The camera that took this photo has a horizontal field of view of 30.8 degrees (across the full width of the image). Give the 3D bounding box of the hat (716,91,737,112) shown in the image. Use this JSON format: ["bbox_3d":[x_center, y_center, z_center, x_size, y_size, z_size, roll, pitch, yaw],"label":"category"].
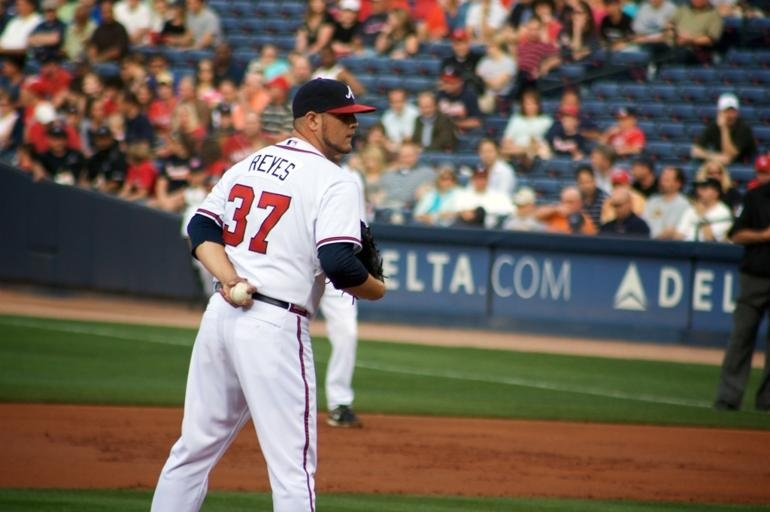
[{"bbox_3d":[4.429,-1.980,18.150,0.191,0.157,0.300,1,7,7],"label":"hat"}]

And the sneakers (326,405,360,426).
[{"bbox_3d":[-0.444,1.729,15.044,0.370,0.222,0.179,0,2,2],"label":"sneakers"}]

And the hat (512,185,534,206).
[{"bbox_3d":[1.802,-0.762,18.120,0.281,0.237,0.229,2,3,3],"label":"hat"}]

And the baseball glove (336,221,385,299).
[{"bbox_3d":[-0.167,0.053,12.958,0.253,0.648,0.494,-6,0,8],"label":"baseball glove"}]

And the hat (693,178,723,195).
[{"bbox_3d":[4.002,-0.864,17.408,0.272,0.260,0.204,-10,-7,37],"label":"hat"}]

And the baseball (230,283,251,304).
[{"bbox_3d":[-1.336,0.362,12.867,0.194,0.183,0.178,18,-42,-29],"label":"baseball"}]
